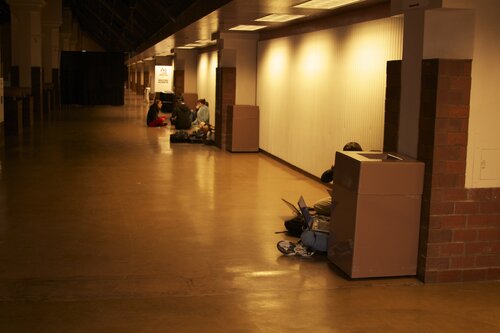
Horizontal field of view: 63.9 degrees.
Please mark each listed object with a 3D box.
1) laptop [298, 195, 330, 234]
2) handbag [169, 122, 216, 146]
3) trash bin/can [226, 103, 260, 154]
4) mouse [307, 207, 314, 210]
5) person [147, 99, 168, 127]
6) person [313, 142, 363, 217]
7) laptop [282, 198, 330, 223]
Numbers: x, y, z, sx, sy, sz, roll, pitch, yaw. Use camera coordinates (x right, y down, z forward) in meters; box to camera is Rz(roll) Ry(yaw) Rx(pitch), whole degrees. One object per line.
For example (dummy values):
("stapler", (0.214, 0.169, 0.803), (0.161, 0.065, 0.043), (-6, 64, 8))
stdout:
("laptop", (0.897, 0.720, 5.756), (0.472, 0.434, 0.583), (5, -1, -2))
("handbag", (-2.108, -1.251, 14.872), (1.605, 0.704, 1.058), (4, 9, -7))
("trash bin/can", (-0.317, -1.398, 13.667), (1.461, 2.122, 1.392), (0, 11, -6))
("mouse", (1.112, 0.750, 7.349), (0.124, 0.030, 0.116), (0, 9, -6))
("person", (-4.407, -2.606, 19.028), (0.759, 1.244, 0.830), (5, 9, -1))
("person", (1.332, 0.095, 6.258), (0.557, 0.898, 0.519), (4, 9, 26))
("laptop", (0.954, 0.746, 6.487), (0.655, 0.238, 0.475), (0, 2, 6))
